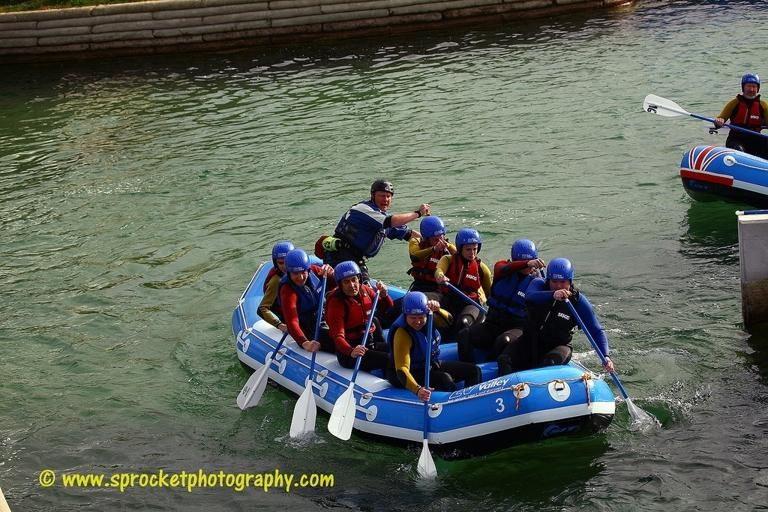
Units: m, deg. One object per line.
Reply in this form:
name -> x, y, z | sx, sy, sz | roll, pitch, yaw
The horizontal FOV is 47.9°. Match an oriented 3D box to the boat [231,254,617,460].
boat -> 0.135, 1.631, 13.243 | 4.607, 0.782, 2.519 | 19, 28, 37

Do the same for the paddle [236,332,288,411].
paddle -> -1.887, 1.907, 14.125 | 0.429, 1.653, 0.122 | 45, -3, -4

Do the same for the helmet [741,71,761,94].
helmet -> 7.620, -3.601, 17.905 | 0.344, 0.360, 0.639 | 6, 18, 17

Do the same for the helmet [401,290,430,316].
helmet -> 0.454, 0.713, 12.838 | 0.384, 0.320, 0.304 | 0, -1, 6

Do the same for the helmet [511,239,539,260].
helmet -> 2.208, -0.100, 13.849 | 0.409, 0.319, 0.408 | 3, 15, 4

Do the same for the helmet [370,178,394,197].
helmet -> -0.072, -1.178, 15.145 | 0.405, 0.202, 0.448 | 5, -22, -17

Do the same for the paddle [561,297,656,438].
paddle -> 3.484, 1.832, 13.477 | 0.591, 2.674, 0.448 | -42, -4, -3
